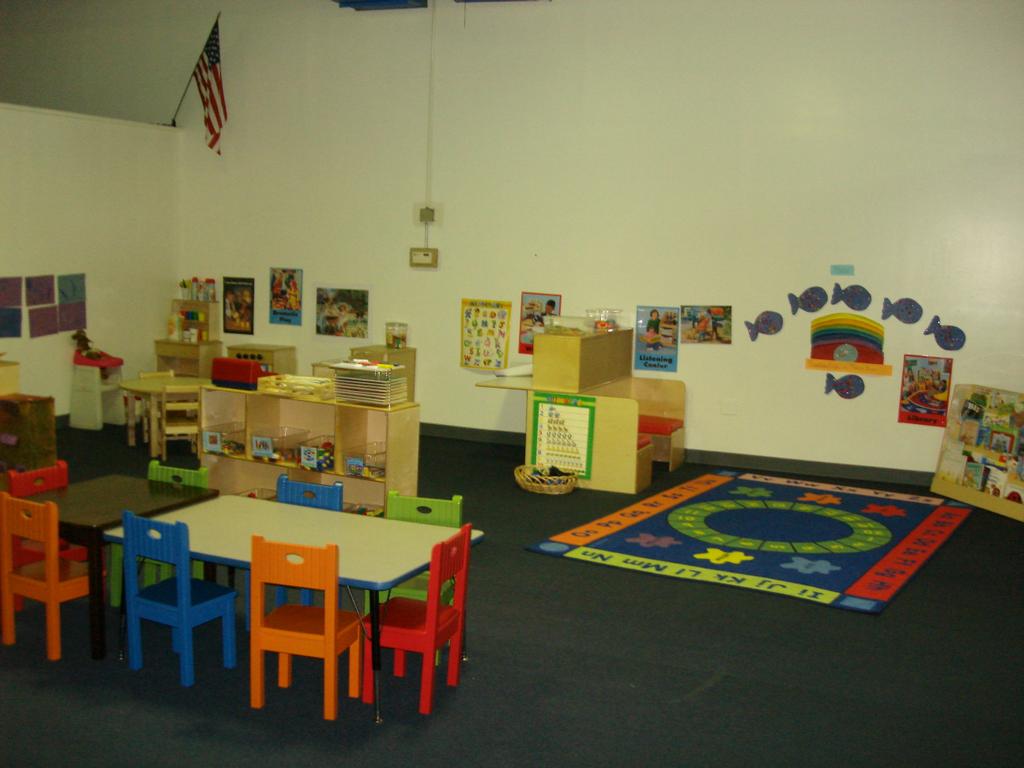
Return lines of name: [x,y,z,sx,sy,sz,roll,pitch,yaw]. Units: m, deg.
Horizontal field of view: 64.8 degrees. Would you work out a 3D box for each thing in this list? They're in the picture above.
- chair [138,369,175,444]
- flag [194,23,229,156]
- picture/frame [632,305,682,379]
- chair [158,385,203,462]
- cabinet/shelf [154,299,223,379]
chair: [-4.075,0.286,9.306,0.392,0.519,0.736,-2,11,-14]
flag: [-4.059,-4.039,10.870,0.489,1.812,0.275,6,11,25]
picture/frame: [1.724,-0.497,9.436,0.756,1.156,0.048,3,3,23]
chair: [-3.793,0.442,9.268,0.588,0.845,0.626,3,4,6]
cabinet/shelf: [-4.333,-0.629,10.974,0.953,0.974,0.709,6,11,24]
